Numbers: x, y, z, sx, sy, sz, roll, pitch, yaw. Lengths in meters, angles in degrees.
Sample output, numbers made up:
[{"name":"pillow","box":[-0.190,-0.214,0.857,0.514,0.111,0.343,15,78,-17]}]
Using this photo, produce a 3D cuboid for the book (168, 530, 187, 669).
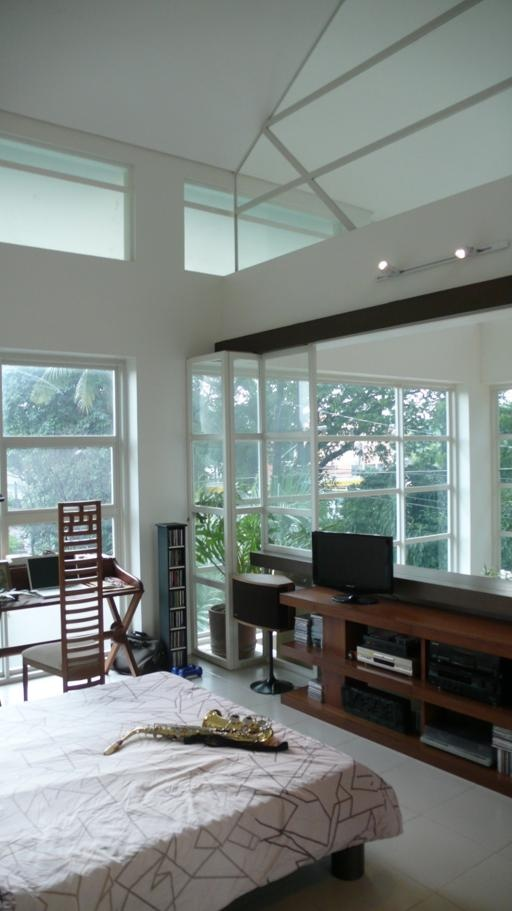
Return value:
[{"name":"book","box":[-0.608,1.168,5.223,0.077,0.936,0.168,-1,-1,41]}]

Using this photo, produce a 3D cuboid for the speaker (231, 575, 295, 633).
[{"name":"speaker","box":[0.007,1.045,5.000,0.314,0.385,0.543,-15,16,-35]}]

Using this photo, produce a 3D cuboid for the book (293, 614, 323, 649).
[{"name":"book","box":[0.354,1.192,4.503,0.238,0.120,0.338,2,4,3]}]

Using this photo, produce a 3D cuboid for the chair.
[{"name":"chair","box":[-1.222,0.991,4.402,0.455,1.547,0.480,17,20,41]}]

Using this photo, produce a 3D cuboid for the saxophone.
[{"name":"saxophone","box":[-0.250,1.157,2.857,0.753,0.210,0.251,-1,-14,-4]}]

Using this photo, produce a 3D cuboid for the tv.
[{"name":"tv","box":[0.607,0.706,4.220,0.562,0.426,0.124,-1,-2,36]}]

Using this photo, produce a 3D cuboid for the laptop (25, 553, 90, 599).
[{"name":"laptop","box":[-1.377,0.773,4.685,0.398,0.405,0.304,5,-10,-43]}]
